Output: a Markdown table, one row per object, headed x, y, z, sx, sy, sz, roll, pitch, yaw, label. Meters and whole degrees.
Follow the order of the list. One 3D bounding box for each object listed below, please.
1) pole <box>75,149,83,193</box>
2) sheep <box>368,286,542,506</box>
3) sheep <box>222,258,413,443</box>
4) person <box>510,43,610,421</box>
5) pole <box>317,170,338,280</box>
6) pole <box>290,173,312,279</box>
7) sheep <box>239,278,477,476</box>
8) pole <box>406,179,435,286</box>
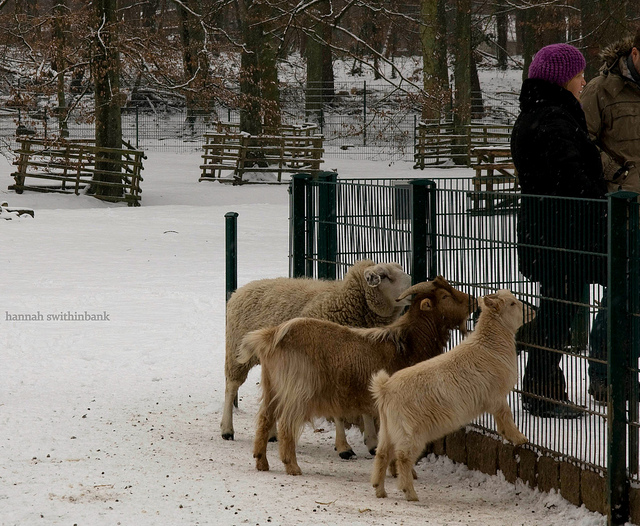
| x | y | z | sx | sy | sz | roll | pitch | yaw | label |
| --- | --- | --- | --- | --- | --- | --- | --- | --- | --- |
| -5.358 | -2.024 | 31.118 | 0.184 | 0.958 | 0.551 | -1 | 8 | -10 | pole |
| 1.254 | 1.278 | 13.555 | 1.486 | 1.952 | 0.637 | 0 | 7 | 1 | sheep |
| 0.061 | 0.963 | 15.236 | 2.301 | 2.205 | 1.099 | 4 | 9 | 28 | sheep |
| 2.363 | -0.346 | 13.897 | 0.943 | 3.545 | 1.550 | 1 | 8 | 9 | person |
| 0.088 | -0.417 | 15.785 | 0.233 | 1.142 | 0.244 | -8 | 15 | -29 | pole |
| -0.246 | -0.383 | 16.185 | 0.311 | 1.307 | 0.298 | -15 | 23 | -40 | pole |
| 0.471 | 1.141 | 14.321 | 2.148 | 1.985 | 0.863 | -5 | 13 | -6 | sheep |
| 1.057 | -0.318 | 14.564 | 0.214 | 1.071 | 0.242 | 1 | 1 | 1 | pole |
